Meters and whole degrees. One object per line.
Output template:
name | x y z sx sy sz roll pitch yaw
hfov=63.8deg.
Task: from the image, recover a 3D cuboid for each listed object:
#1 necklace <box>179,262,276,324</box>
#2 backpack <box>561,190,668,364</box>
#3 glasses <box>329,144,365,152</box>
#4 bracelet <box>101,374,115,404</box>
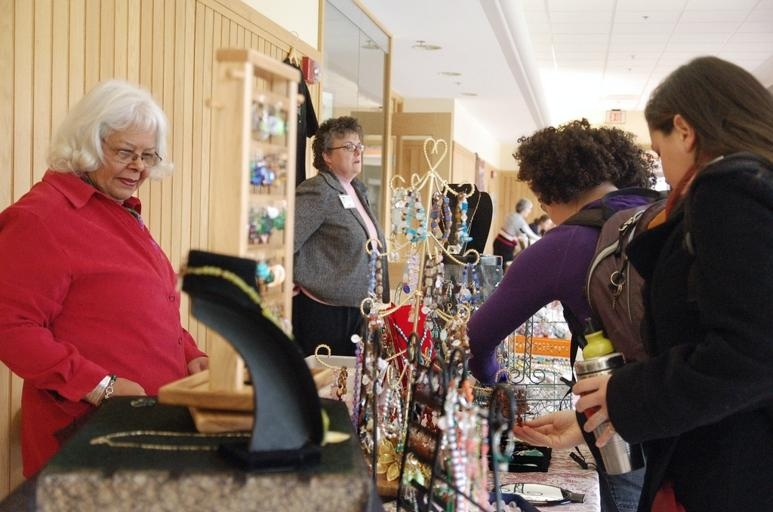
necklace | -0.277 0.052 1.147 0.157 0.067 0.098 40 -19 -28
backpack | 0.689 0.059 1.775 0.280 0.392 0.383 -1 -27 22
glasses | -0.197 -0.577 3.321 0.082 0.025 0.081 -2 2 23
bracelet | -0.743 0.355 1.657 0.024 0.093 0.070 10 2 -20
